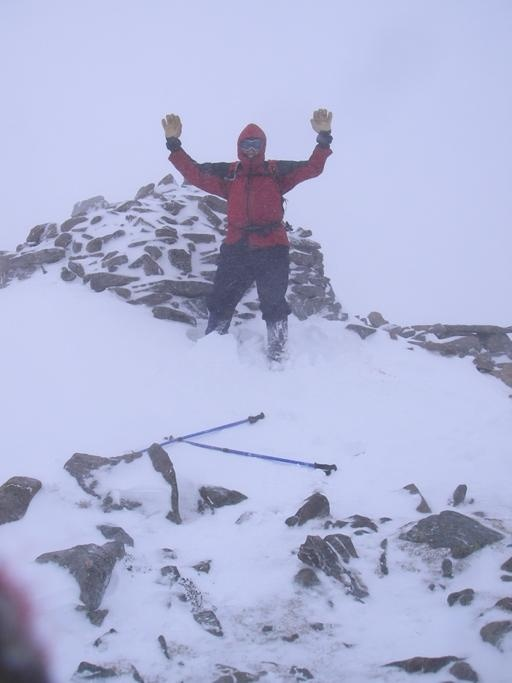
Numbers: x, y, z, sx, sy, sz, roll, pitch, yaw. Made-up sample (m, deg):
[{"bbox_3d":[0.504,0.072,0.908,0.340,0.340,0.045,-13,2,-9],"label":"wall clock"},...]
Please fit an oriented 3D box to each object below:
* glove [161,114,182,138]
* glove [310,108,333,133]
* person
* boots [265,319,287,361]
[{"bbox_3d":[-0.829,-2.107,11.315,0.171,0.259,0.677,4,0,-5],"label":"glove"},{"bbox_3d":[0.637,-2.139,11.176,0.177,0.228,0.335,4,0,0],"label":"glove"},{"bbox_3d":[-0.133,-1.052,11.797,1.652,2.439,1.081,4,-1,2],"label":"person"},{"bbox_3d":[0.285,-0.026,12.157,0.259,0.369,0.214,-15,-46,7],"label":"boots"}]
